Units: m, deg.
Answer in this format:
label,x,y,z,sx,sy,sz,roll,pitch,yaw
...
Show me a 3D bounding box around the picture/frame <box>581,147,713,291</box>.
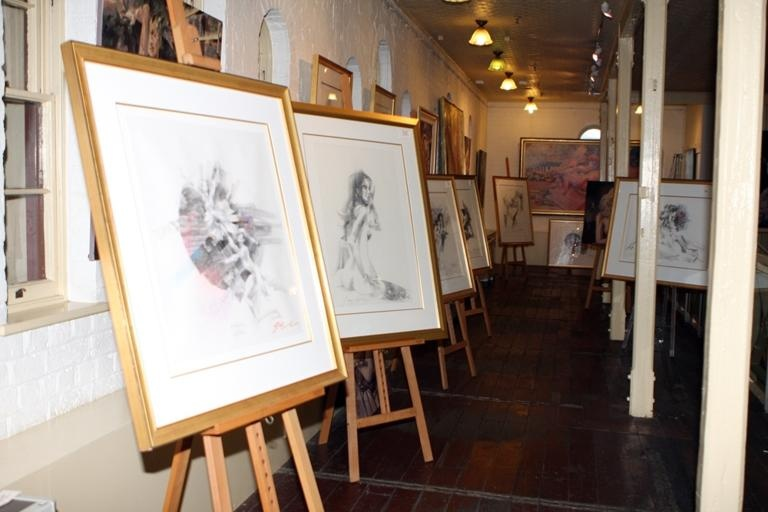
label,x,y,z,sx,sy,sz,roll,pitch,yaw
picture/frame,2.655,-0.252,5.321,0.910,1.004,0.567,5,10,36
